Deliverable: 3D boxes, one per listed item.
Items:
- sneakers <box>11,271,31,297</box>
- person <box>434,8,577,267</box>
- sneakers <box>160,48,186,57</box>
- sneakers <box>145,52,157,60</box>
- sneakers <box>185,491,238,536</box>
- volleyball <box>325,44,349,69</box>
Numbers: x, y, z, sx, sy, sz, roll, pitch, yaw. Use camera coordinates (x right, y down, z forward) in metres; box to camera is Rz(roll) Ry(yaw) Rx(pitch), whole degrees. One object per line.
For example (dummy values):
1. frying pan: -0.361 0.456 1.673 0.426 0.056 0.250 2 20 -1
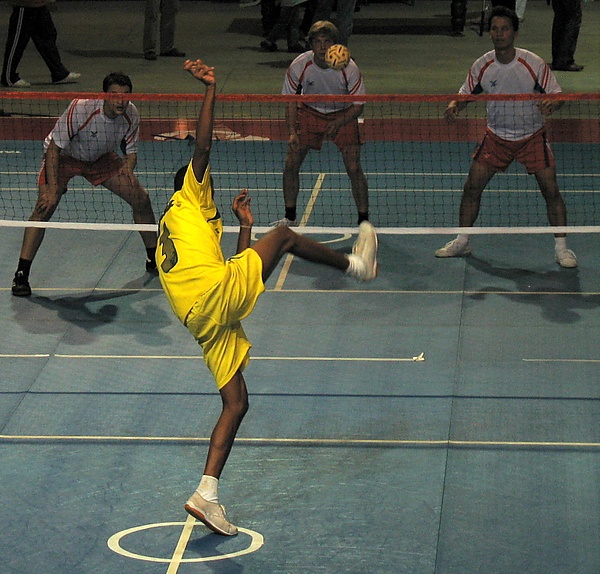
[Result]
1. sneakers: -3.066 -0.023 7.035 0.160 0.224 0.380 3 19 -14
2. person: 2.426 -1.654 7.380 1.435 2.903 1.247 -10 31 -7
3. sneakers: -3.441 -6.153 16.968 0.807 0.228 0.214 -1 22 -4
4. sneakers: -3.863 -5.900 16.517 0.305 0.155 0.137 4 44 4
5. sneakers: -0.448 1.138 3.187 0.090 0.368 0.201 15 36 30
6. volleyball: 0.454 -2.697 7.640 0.385 0.251 0.311 4 1 3
